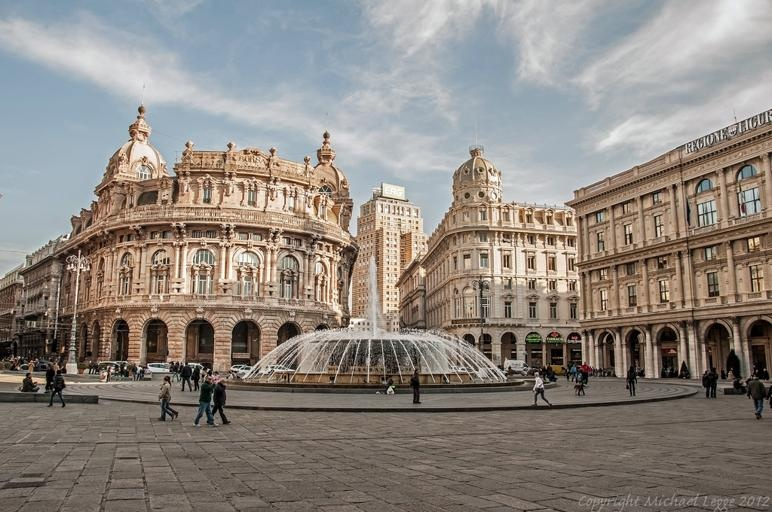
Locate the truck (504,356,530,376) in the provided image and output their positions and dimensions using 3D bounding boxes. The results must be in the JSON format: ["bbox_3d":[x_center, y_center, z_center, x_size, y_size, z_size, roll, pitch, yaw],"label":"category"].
[{"bbox_3d":[13.308,11.326,65.155,3.288,1.493,2.089,-3,-3,6],"label":"truck"}]

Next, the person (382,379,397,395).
[{"bbox_3d":[0.239,6.737,32.924,0.763,0.947,0.503,-3,3,-27],"label":"person"}]
